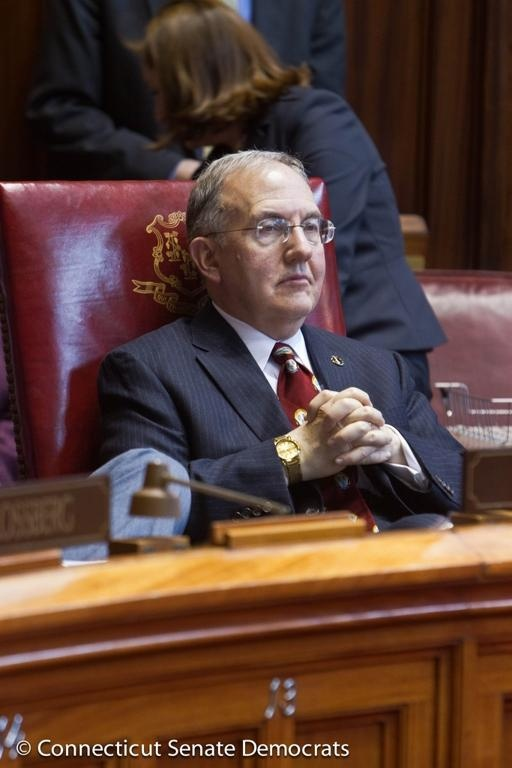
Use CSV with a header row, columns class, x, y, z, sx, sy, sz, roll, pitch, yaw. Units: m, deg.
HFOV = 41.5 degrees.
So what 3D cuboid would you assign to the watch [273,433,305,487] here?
class,x,y,z,sx,sy,sz,roll,pitch,yaw
watch,0.047,0.112,0.991,0.039,0.067,0.040,-3,15,-2
